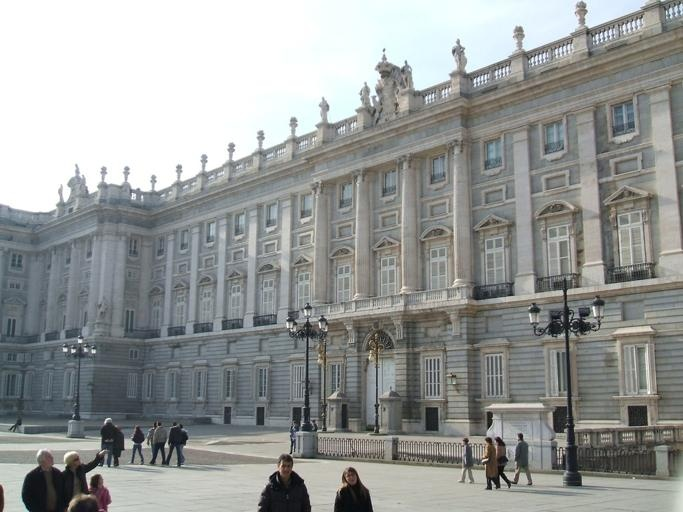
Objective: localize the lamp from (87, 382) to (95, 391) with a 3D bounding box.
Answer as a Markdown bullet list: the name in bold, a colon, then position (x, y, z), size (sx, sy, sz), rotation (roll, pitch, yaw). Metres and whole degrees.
- **lamp**: position (-20.364, 10.580, 64.869), size (0.621, 0.514, 0.577), rotation (-4, 2, 37)

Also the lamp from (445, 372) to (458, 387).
- **lamp**: position (6.234, 6.995, 45.239), size (0.658, 0.887, 0.689), rotation (0, -9, 18)

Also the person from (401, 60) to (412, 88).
- **person**: position (4.068, -11.308, 50.499), size (0.692, 1.781, 0.523), rotation (-7, -17, 17)

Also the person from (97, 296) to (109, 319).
- **person**: position (-19.766, 4.354, 66.283), size (0.719, 1.878, 0.651), rotation (4, -17, -18)
